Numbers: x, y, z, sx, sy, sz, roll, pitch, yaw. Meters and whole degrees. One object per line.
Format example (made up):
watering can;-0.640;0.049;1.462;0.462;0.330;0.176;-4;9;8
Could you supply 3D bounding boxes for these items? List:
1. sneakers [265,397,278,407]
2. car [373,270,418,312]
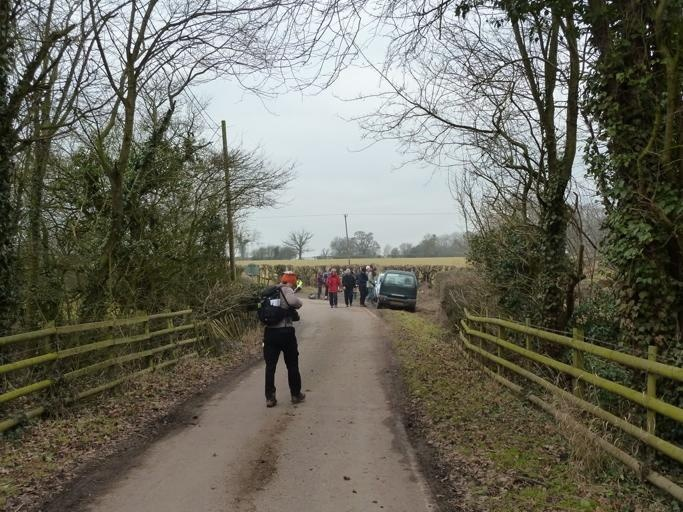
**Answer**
sneakers;-1.232;2.526;9.504;0.198;0.148;0.361;0;1;-7
car;2.817;1.760;27.395;1.911;2.067;1.139;0;1;21
